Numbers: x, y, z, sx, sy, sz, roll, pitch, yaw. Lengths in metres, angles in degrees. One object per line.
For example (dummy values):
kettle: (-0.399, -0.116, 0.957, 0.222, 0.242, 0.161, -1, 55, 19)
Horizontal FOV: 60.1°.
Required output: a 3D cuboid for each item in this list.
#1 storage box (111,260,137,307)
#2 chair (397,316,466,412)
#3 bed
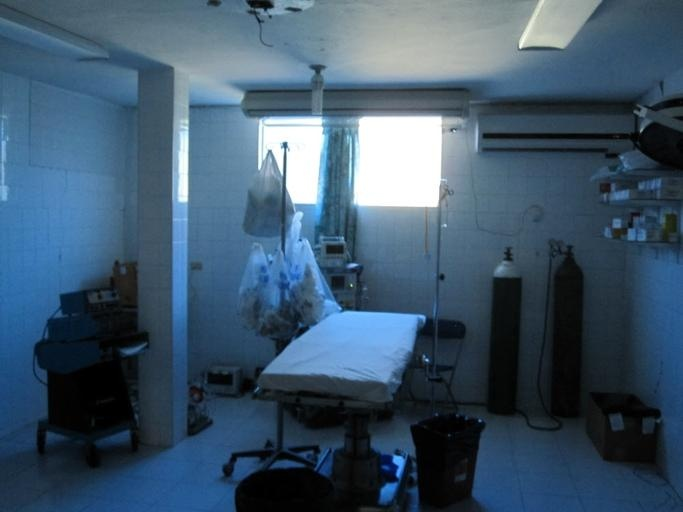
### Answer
storage box: (-2.256, 0.282, 6.121, 0.219, 0.423, 0.523, -4, 7, -37)
chair: (0.960, 1.101, 6.089, 0.645, 0.772, 0.590, -3, 9, -41)
bed: (0.042, 0.787, 4.707, 1.004, 0.325, 1.325, 1, 6, 14)
